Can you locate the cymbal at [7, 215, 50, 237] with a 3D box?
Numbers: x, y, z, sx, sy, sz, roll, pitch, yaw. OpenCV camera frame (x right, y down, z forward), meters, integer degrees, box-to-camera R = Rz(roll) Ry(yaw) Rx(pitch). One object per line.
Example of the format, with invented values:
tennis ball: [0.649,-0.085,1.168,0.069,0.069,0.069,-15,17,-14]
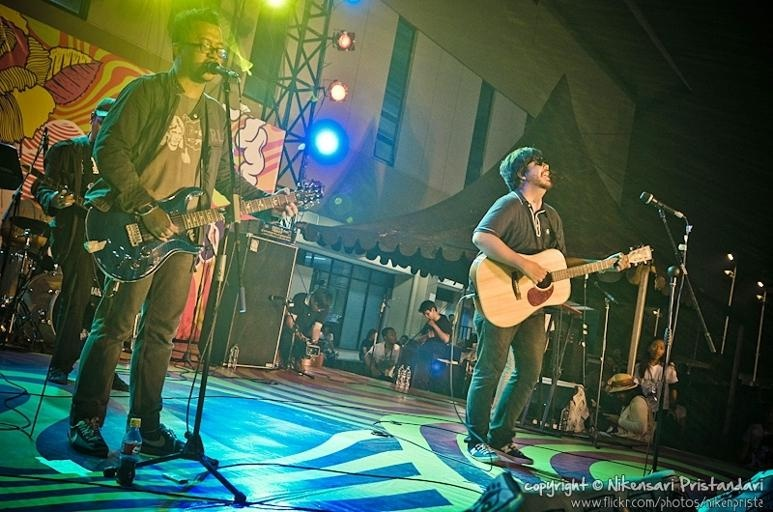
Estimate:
cymbal: [-4.653,-0.390,7.198,0.365,0.097,0.408,8,-4,18]

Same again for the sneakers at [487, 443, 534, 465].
sneakers: [1.224,1.927,5.447,0.440,0.180,0.167,10,-12,7]

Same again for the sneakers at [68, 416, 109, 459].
sneakers: [-2.289,1.404,4.226,0.176,0.197,0.422,17,-11,-42]

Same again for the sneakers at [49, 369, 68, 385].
sneakers: [-3.366,1.249,5.651,0.192,0.160,0.183,11,-2,-33]

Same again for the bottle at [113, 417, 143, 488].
bottle: [-1.881,1.410,4.036,0.141,0.512,0.259,11,-1,-23]

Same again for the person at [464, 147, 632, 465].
person: [1.259,0.441,5.598,0.971,3.067,0.602,10,-1,0]

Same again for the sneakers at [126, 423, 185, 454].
sneakers: [-1.820,1.478,4.414,0.488,0.212,0.166,8,-11,-15]

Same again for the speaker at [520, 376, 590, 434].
speaker: [2.454,2.226,8.020,0.929,0.666,0.902,26,-24,-36]

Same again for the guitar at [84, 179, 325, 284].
guitar: [-1.503,-0.269,4.567,1.909,0.761,0.217,-17,7,-18]

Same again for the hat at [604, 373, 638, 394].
hat: [3.590,2.007,8.385,0.380,0.153,0.341,-19,7,25]

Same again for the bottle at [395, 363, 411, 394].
bottle: [0.268,2.344,10.644,0.337,0.578,0.373,1,-12,37]
